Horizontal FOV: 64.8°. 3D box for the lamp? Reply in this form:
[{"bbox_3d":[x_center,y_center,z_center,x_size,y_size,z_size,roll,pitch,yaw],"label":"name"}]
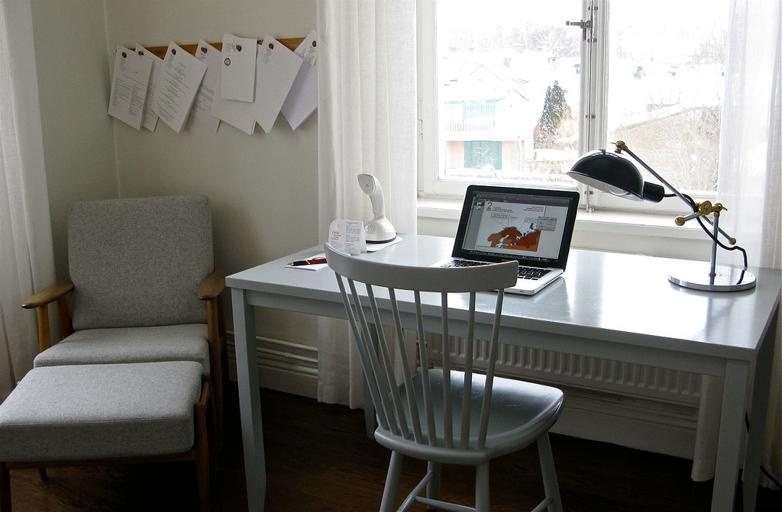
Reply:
[{"bbox_3d":[0.863,-0.158,2.410,0.917,0.669,0.407,3,6,2],"label":"lamp"}]

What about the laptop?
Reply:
[{"bbox_3d":[0.466,-0.101,2.358,0.467,0.426,0.335,9,8,22],"label":"laptop"}]
